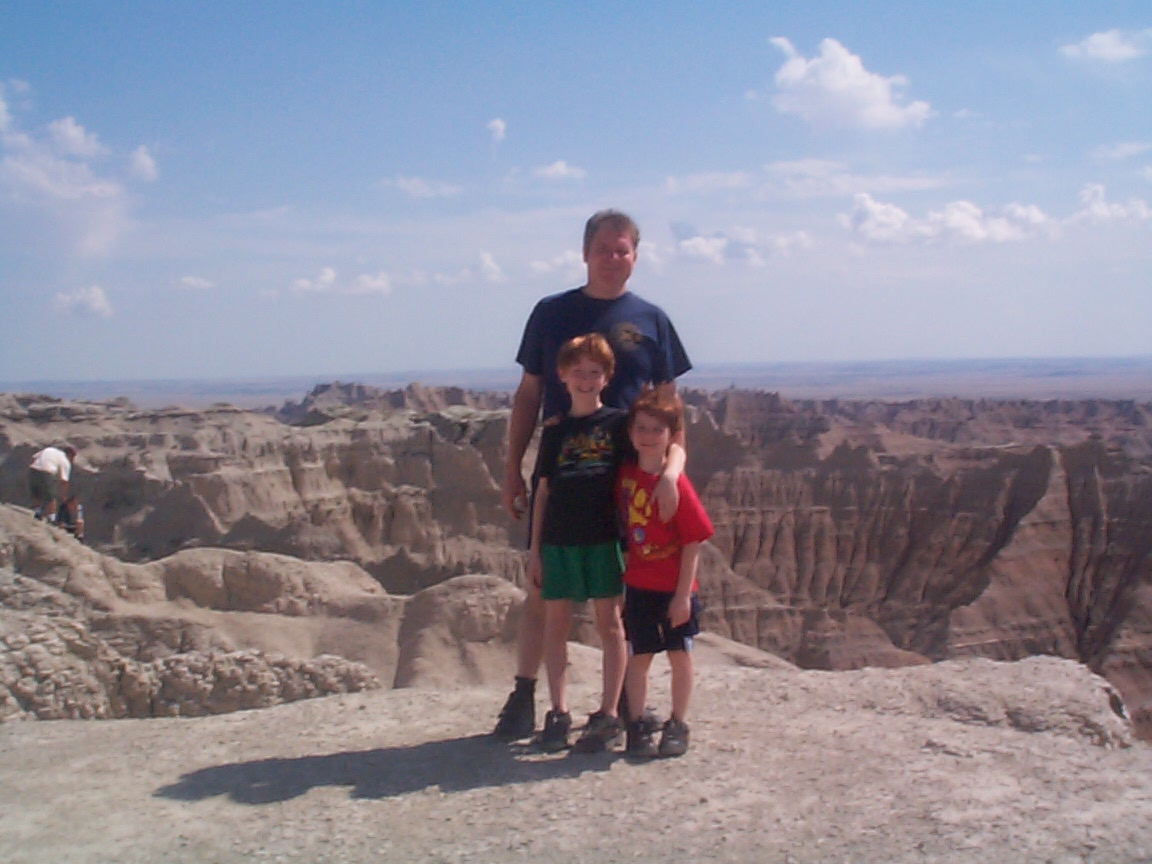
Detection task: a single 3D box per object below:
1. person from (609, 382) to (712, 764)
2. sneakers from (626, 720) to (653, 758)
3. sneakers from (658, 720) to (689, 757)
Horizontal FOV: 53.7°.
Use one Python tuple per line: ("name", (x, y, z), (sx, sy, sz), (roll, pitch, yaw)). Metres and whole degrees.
("person", (0.618, 0.954, 7.863), (0.590, 2.489, 0.484), (-2, 8, 3))
("sneakers", (0.440, 2.086, 7.886), (0.177, 0.238, 0.202), (-2, 8, 2))
("sneakers", (0.682, 2.096, 7.880), (0.244, 0.216, 0.192), (-3, 8, -5))
